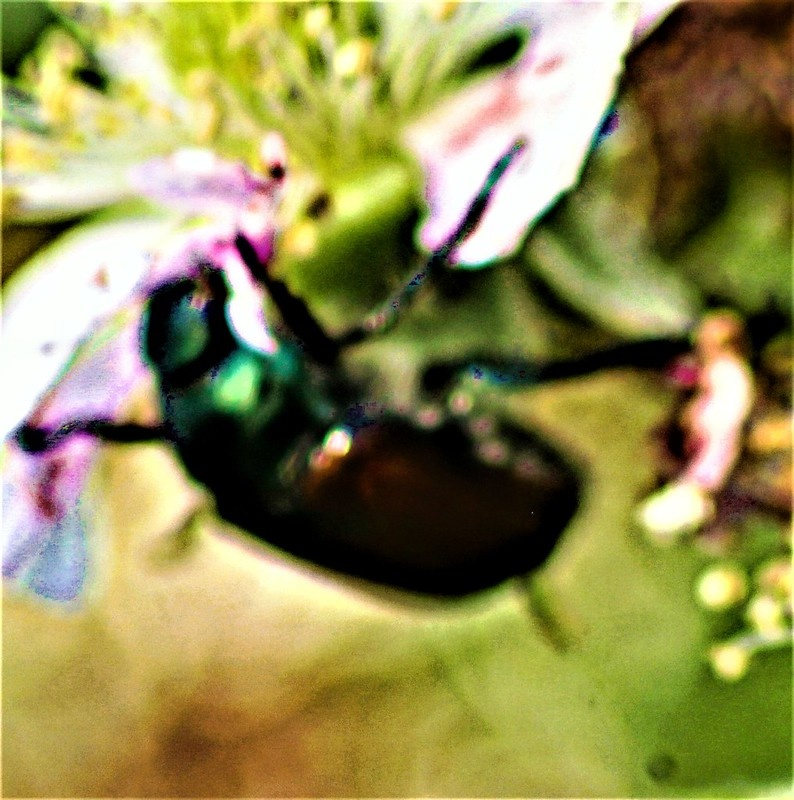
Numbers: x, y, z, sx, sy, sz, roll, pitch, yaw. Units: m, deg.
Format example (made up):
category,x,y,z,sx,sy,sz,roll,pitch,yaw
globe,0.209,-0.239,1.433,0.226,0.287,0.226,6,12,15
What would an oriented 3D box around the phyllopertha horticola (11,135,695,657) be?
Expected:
category,x,y,z,sx,sy,sz,roll,pitch,yaw
phyllopertha horticola,-0.032,-0.011,0.889,0.364,0.179,0.394,32,69,23
